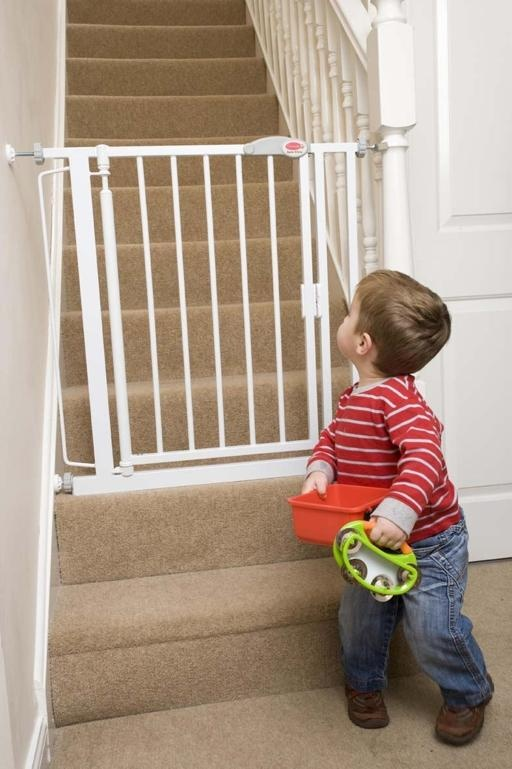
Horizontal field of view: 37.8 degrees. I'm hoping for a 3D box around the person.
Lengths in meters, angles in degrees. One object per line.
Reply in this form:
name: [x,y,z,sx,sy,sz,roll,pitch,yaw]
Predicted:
person: [0.241,0.224,1.373,0.352,0.820,0.360,-6,7,-34]
